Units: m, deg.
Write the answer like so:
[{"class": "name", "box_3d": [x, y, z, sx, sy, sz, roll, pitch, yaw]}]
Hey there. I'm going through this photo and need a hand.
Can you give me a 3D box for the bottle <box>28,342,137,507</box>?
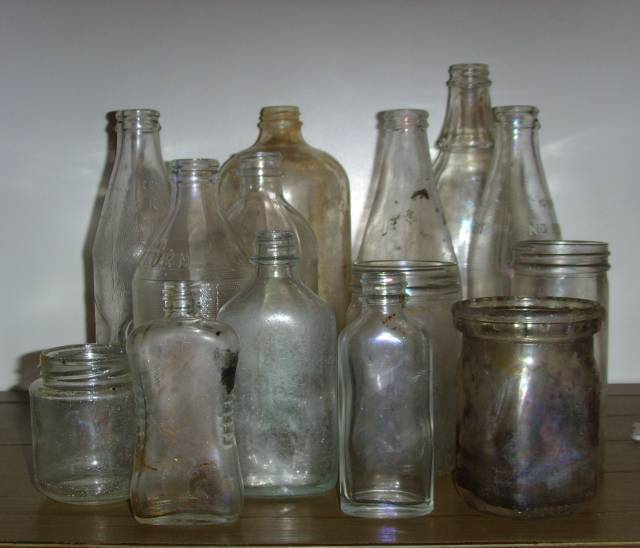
[{"class": "bottle", "box_3d": [-0.245, 0.158, 1.017, 0.114, 0.144, 0.103, 0, 6, -13]}]
